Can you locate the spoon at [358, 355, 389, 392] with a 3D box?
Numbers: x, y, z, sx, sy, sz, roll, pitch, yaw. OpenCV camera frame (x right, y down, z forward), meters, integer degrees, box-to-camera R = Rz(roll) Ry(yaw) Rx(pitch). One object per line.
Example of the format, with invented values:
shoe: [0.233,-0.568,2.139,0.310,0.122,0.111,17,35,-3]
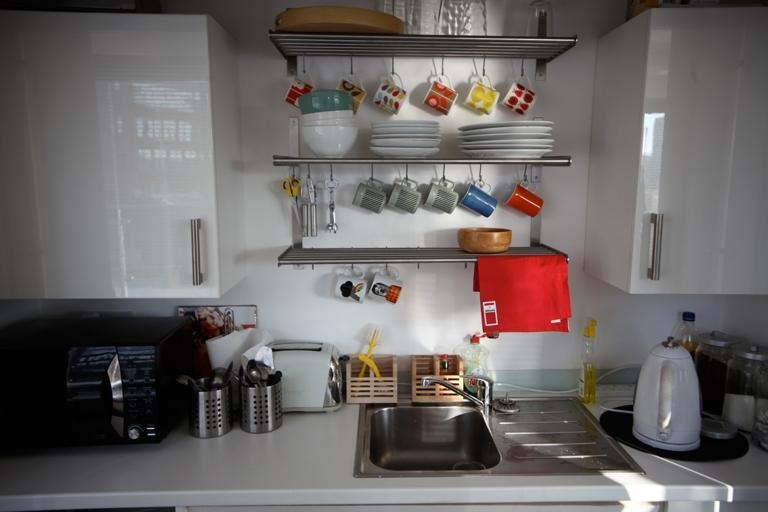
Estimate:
spoon: [-0.036,0.487,2.425,0.145,0.137,0.139,0,1,1]

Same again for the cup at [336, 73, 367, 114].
cup: [-0.126,-0.677,2.328,0.126,0.180,0.055,4,4,-15]

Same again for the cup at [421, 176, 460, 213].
cup: [0.227,-0.257,2.342,0.124,0.113,0.170,6,13,-4]

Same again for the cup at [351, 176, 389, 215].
cup: [-0.036,-0.257,2.375,0.136,0.134,0.106,19,11,21]

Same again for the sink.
sink: [0.170,0.742,2.305,0.383,0.138,0.293,0,11,-3]

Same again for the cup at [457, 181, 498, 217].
cup: [0.382,-0.223,2.418,0.165,0.108,0.171,18,21,-7]

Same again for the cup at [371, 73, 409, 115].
cup: [0.033,-0.673,2.320,0.117,0.154,0.053,21,18,-14]

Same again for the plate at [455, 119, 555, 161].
plate: [0.450,-0.438,2.195,0.215,0.071,0.213,-4,3,-30]

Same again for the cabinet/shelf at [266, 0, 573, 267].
cabinet/shelf: [0.127,-0.535,2.312,1.116,1.075,0.370,0,2,-4]

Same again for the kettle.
kettle: [1.074,0.515,2.165,0.232,0.386,0.272,3,12,25]

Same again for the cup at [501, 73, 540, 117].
cup: [0.560,-0.650,2.411,0.129,0.174,0.135,20,4,-2]

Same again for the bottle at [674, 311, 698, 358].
bottle: [1.300,0.359,2.434,0.082,0.190,0.072,2,-9,-14]

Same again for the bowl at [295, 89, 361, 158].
bowl: [-0.212,-0.492,2.146,0.236,0.253,0.233,-2,11,0]
